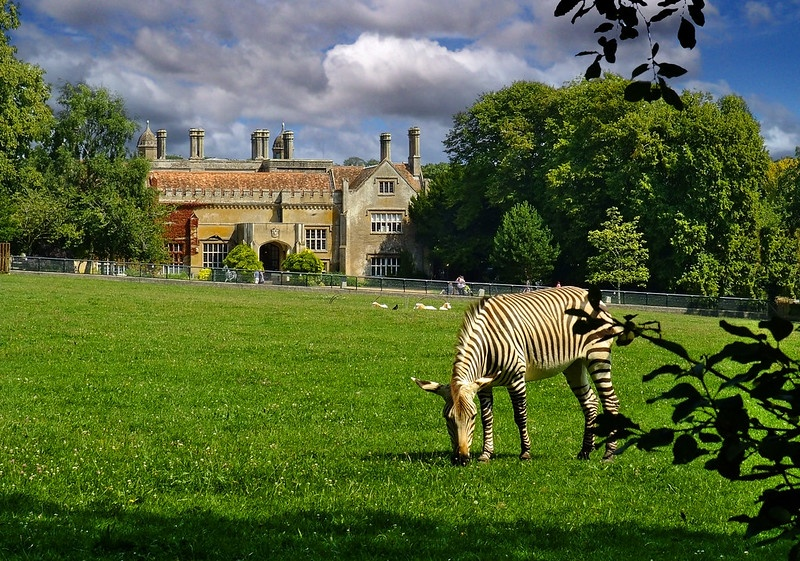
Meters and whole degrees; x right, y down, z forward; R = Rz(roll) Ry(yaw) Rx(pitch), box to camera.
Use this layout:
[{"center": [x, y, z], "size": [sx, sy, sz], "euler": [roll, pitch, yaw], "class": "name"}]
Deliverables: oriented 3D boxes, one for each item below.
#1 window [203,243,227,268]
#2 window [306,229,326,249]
[{"center": [-15.000, -1.960, 86.817], "size": [1.967, 2.463, 0.114], "euler": [1, -7, -18], "class": "window"}, {"center": [-7.018, -3.474, 88.825], "size": [1.477, 1.661, 0.118], "euler": [0, -2, -13], "class": "window"}]
